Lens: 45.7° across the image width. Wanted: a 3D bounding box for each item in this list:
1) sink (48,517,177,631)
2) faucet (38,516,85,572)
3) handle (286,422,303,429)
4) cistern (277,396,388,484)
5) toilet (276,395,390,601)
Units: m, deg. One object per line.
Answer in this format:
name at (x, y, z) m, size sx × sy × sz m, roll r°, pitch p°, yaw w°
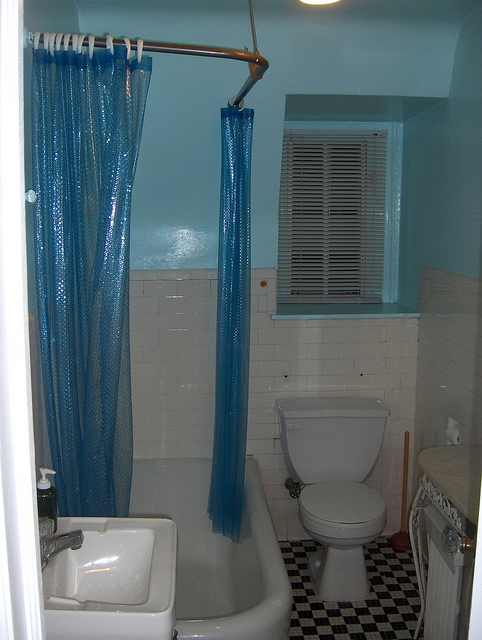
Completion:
sink at (-0.282, 0.572, 1.294) m, size 0.244 × 0.150 × 0.236 m, roll 2°, pitch 20°, yaw -4°
faucet at (-0.382, 0.467, 1.205) m, size 0.087 × 0.110 × 0.112 m, roll -2°, pitch -9°, yaw 12°
handle at (0.253, 0.503, 2.731) m, size 0.059 × 0.032 × 0.014 m, roll -1°, pitch 19°, yaw 1°
cistern at (0.428, 0.586, 2.774) m, size 0.580 × 0.417 × 0.371 m, roll 0°, pitch 0°, yaw 0°
toilet at (0.435, 0.776, 2.698) m, size 0.626 × 0.952 × 0.788 m, roll 0°, pitch 1°, yaw -1°
